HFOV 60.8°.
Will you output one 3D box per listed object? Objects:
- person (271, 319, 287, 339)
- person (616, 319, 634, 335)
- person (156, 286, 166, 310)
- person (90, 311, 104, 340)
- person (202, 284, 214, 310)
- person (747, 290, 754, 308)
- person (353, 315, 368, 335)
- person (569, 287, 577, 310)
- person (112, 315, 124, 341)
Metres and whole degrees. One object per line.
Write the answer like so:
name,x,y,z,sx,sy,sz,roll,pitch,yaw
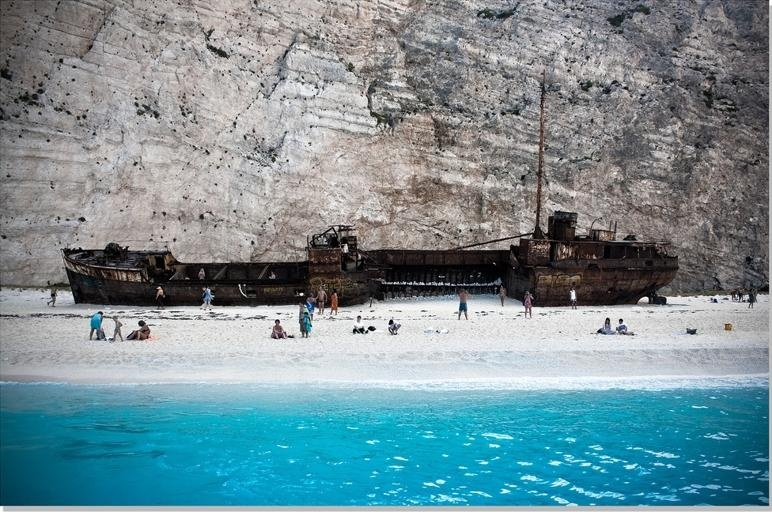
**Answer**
person,-5.717,3.879,34.793,0.944,1.050,0.935,-2,2,-23
person,13.185,3.957,36.632,0.749,1.017,0.452,-14,15,-21
person,-14.579,2.569,42.508,0.693,1.453,1.025,3,-4,-14
person,-14.895,3.569,33.961,0.611,1.411,1.083,4,-4,-24
person,-11.504,2.678,42.441,0.718,1.512,1.334,3,-4,-17
person,24.443,2.840,44.381,0.321,1.234,1.374,0,-4,30
person,-1.352,3.789,35.920,1.027,1.052,0.820,-2,0,-17
person,12.440,2.764,44.217,0.509,1.445,2.143,1,-4,16
person,-14.036,3.759,34.593,0.550,1.256,2.762,4,-4,-22
